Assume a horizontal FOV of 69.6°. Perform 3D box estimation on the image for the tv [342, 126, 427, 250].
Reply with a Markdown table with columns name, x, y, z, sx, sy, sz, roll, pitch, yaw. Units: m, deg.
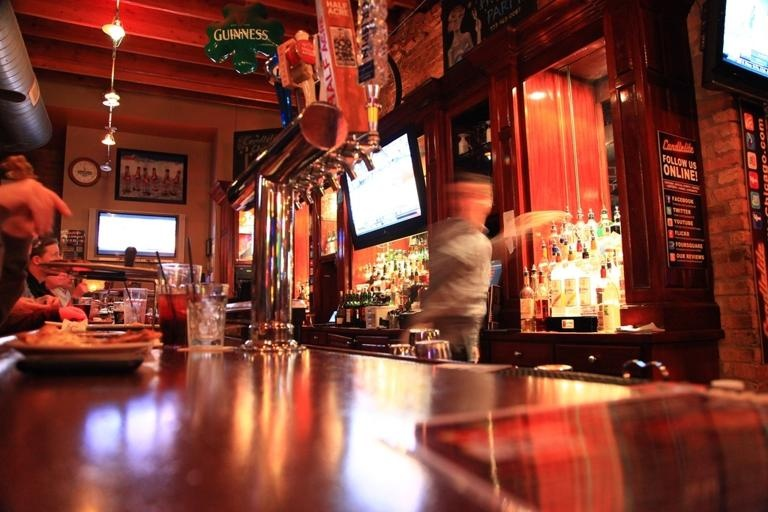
| name | x | y | z | sx | sy | sz | roll | pitch | yaw |
| --- | --- | --- | --- | --- | --- | --- | --- | --- | --- |
| tv | 0.057 | -0.492 | 4.120 | 0.139 | 0.775 | 1.036 | 2 | -9 | -40 |

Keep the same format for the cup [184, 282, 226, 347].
| name | x | y | z | sx | sy | sz | roll | pitch | yaw |
| --- | --- | --- | --- | --- | --- | --- | --- | --- | --- |
| cup | -0.516 | 0.170 | 1.612 | 0.107 | 0.184 | 0.175 | 0 | -1 | -19 |
